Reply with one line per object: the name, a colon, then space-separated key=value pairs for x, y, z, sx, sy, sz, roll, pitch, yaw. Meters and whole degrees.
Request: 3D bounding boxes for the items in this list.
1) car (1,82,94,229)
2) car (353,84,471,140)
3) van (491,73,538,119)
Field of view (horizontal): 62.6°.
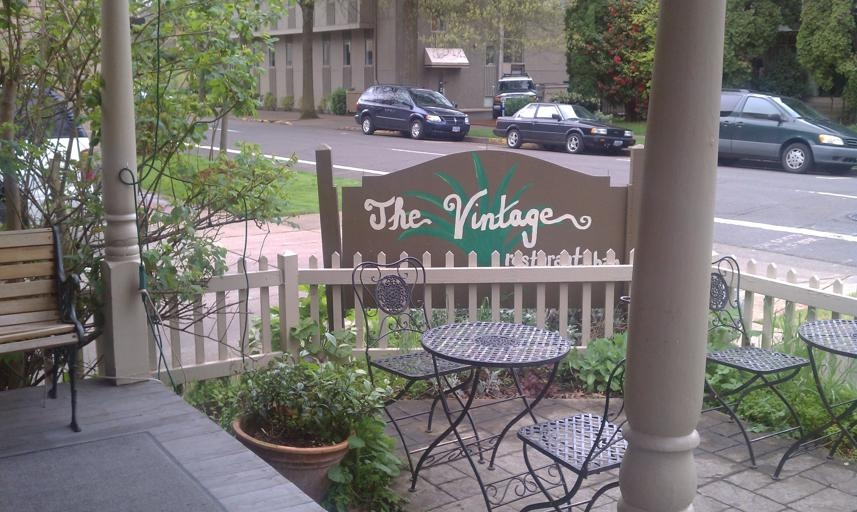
car: x=-4.124 y=-1.087 z=7.592 sx=0.787 sy=1.282 sz=2.754 roll=-6 pitch=9 yaw=-25
car: x=-0.458 y=-5.505 z=27.809 sx=2.197 sy=1.796 sz=4.358 roll=-5 pitch=12 yaw=-39
van: x=4.145 y=-7.979 z=34.778 sx=1.857 sy=1.860 sz=3.515 roll=-1 pitch=12 yaw=4
